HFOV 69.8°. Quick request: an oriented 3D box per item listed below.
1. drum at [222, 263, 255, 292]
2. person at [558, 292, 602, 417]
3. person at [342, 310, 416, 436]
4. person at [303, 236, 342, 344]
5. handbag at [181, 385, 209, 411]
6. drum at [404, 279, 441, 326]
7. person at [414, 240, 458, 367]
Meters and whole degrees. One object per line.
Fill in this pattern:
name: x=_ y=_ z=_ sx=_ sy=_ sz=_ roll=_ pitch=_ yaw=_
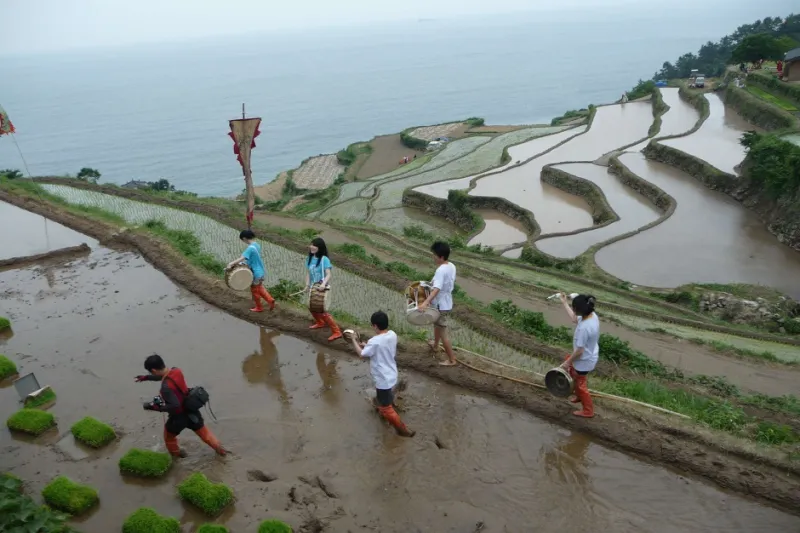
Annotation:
drum: x=-3.764 y=0.275 z=13.456 sx=0.621 sy=0.575 sz=0.546 roll=0 pitch=15 yaw=-21
person: x=3.590 y=1.589 z=11.303 sx=0.841 sy=2.555 sz=1.225 roll=6 pitch=26 yaw=16
person: x=-0.314 y=2.023 z=10.807 sx=0.787 sy=2.408 sz=1.198 roll=-12 pitch=27 yaw=-21
person: x=-1.750 y=0.484 z=12.862 sx=0.717 sy=2.362 sz=0.905 roll=-6 pitch=26 yaw=-9
handbag: x=-3.653 y=2.335 z=10.266 sx=0.416 sy=0.438 sz=0.486 roll=-7 pitch=1 yaw=-22
drum: x=0.425 y=0.922 z=12.028 sx=0.936 sy=0.870 sz=0.952 roll=-5 pitch=48 yaw=-6
person: x=0.848 y=0.818 z=11.868 sx=0.705 sy=2.759 sz=0.712 roll=1 pitch=26 yaw=5
